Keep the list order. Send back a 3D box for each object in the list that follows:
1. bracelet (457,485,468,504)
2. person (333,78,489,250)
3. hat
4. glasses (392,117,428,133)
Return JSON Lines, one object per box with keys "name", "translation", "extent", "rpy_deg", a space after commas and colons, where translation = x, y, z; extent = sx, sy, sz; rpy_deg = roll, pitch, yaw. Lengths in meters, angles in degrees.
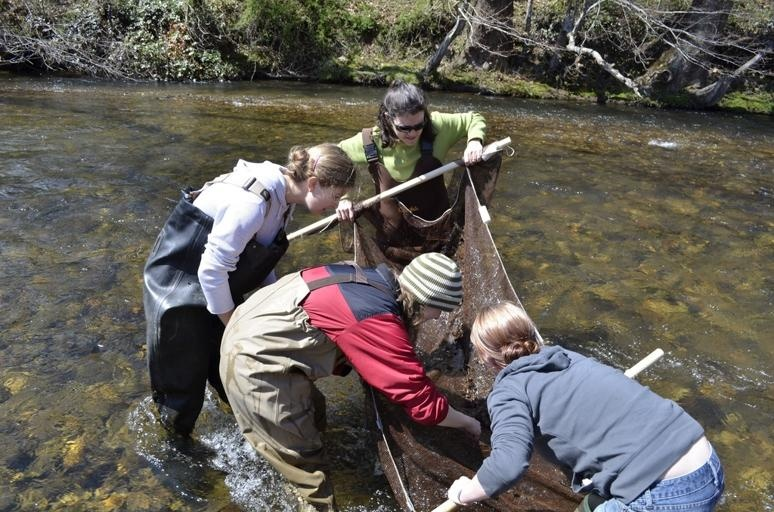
{"name": "bracelet", "translation": [0.558, 1.809, 4.622], "extent": [0.099, 0.097, 0.090], "rpy_deg": [6, -4, -22]}
{"name": "person", "translation": [0.255, -0.937, 6.344], "extent": [1.458, 1.620, 0.903], "rpy_deg": [1, 32, -6]}
{"name": "hat", "translation": [0.346, 0.162, 4.852], "extent": [0.501, 0.406, 0.373], "rpy_deg": [21, 22, -7]}
{"name": "glasses", "translation": [0.206, -1.314, 6.100], "extent": [0.300, 0.131, 0.088], "rpy_deg": [4, 32, -2]}
